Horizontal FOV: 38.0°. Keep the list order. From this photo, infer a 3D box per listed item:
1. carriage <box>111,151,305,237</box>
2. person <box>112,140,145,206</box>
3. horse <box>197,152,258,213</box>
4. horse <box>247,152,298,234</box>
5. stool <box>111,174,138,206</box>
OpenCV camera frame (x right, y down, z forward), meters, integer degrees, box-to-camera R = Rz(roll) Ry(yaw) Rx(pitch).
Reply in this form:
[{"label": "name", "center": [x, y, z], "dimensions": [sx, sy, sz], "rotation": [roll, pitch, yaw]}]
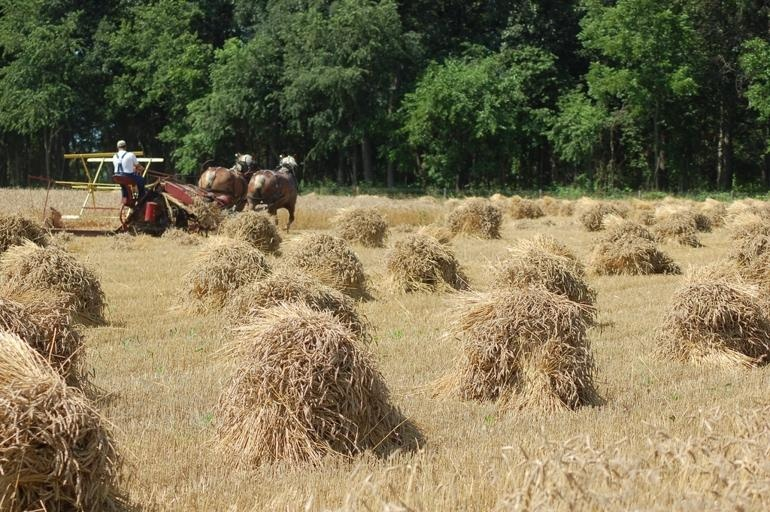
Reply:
[{"label": "carriage", "center": [-7.713, -2.441, 48.047], "dimensions": [7.432, 3.125, 3.182], "rotation": [0, 4, -15]}, {"label": "person", "center": [-10.783, -3.586, 47.341], "dimensions": [1.396, 2.978, 0.899], "rotation": [0, 1, 5]}, {"label": "horse", "center": [-6.435, -3.276, 49.378], "dimensions": [1.246, 3.199, 4.159], "rotation": [10, 16, 19]}, {"label": "horse", "center": [-4.667, -3.057, 49.949], "dimensions": [1.450, 3.159, 4.271], "rotation": [5, 15, 11]}, {"label": "stool", "center": [-11.077, -2.885, 47.219], "dimensions": [1.059, 1.422, 1.270], "rotation": [0, 1, -21]}]
